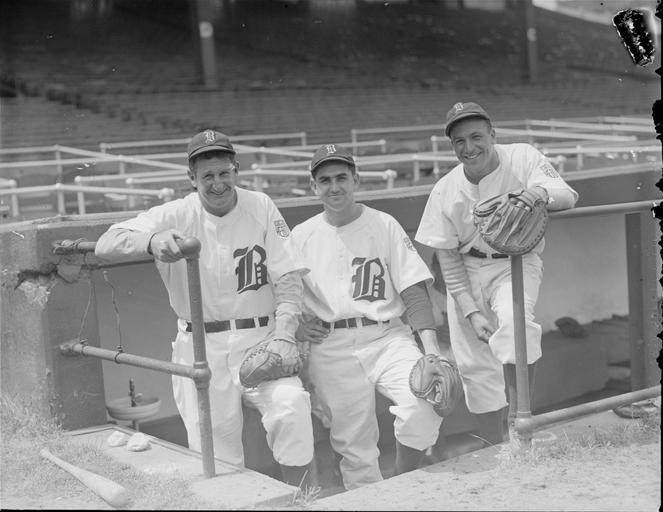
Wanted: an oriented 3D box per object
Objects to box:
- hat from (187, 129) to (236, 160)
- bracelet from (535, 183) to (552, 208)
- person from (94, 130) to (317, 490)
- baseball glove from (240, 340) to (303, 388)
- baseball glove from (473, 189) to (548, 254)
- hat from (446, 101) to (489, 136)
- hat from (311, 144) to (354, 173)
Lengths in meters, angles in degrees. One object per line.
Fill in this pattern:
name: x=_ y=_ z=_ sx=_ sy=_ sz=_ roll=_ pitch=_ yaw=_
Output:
hat: x=-1.065 y=-0.983 z=12.170 sx=0.405 sy=0.253 sz=0.223 roll=-5 pitch=4 yaw=-5
bracelet: x=1.811 y=-0.526 z=11.791 sx=0.102 sy=0.134 sz=0.181 roll=-43 pitch=50 yaw=-4
person: x=-0.965 y=0.491 z=12.205 sx=1.482 sy=3.204 sz=0.760 roll=-6 pitch=4 yaw=-2
baseball glove: x=-0.578 y=0.929 z=12.176 sx=0.597 sy=0.305 sz=0.246 roll=-18 pitch=21 yaw=-29
baseball glove: x=1.634 y=-0.338 z=11.954 sx=0.606 sy=0.209 sz=0.608 roll=-9 pitch=-4 yaw=-7
hat: x=1.194 y=-1.222 z=12.269 sx=0.386 sy=0.294 sz=0.311 roll=-5 pitch=4 yaw=3
hat: x=-0.004 y=-0.888 z=12.485 sx=0.396 sy=0.254 sz=0.218 roll=-5 pitch=4 yaw=-1
